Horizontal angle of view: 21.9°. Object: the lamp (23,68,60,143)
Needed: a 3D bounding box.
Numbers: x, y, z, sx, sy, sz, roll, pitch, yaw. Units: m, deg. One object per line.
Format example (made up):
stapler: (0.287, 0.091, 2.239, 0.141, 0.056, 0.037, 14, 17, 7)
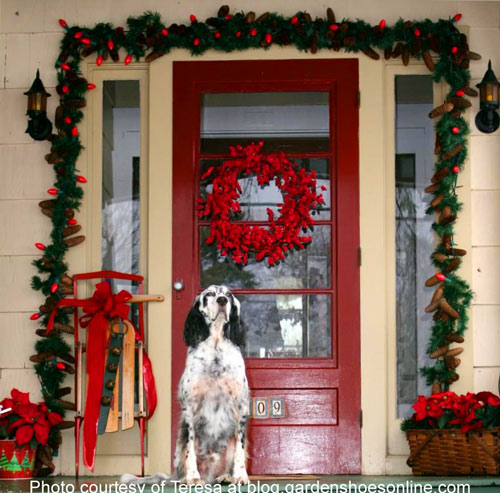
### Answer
lamp: (-1.236, -0.836, 7.594, 0.167, 0.427, 0.247, 0, -9, -10)
